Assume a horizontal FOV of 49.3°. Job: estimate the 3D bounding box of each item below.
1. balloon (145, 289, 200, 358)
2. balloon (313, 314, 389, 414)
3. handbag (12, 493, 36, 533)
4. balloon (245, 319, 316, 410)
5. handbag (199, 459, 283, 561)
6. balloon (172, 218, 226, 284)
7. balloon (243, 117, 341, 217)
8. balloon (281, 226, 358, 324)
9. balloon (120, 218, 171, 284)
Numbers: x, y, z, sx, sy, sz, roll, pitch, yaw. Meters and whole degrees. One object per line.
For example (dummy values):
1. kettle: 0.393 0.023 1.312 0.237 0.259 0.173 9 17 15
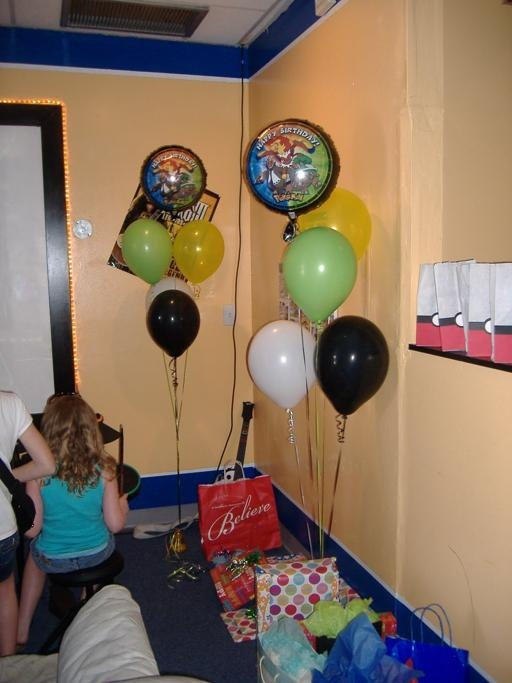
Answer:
1. balloon: -0.400 -0.108 2.882 0.242 0.370 0.271 3 2 4
2. balloon: 0.329 0.081 1.942 0.250 0.381 0.268 5 8 12
3. handbag: -0.817 0.618 1.970 0.045 0.151 0.098 -16 10 -28
4. balloon: 0.118 0.105 2.332 0.292 0.432 0.313 2 18 23
5. handbag: -0.070 0.949 3.071 0.444 0.499 0.179 -6 6 -22
6. balloon: -0.290 -0.479 3.211 0.293 0.438 0.320 2 -8 -2
7. balloon: 0.117 -0.613 1.968 0.337 0.313 0.128 2 7 33
8. balloon: 0.186 -0.259 1.988 0.264 0.384 0.275 -8 20 -34
9. balloon: -0.572 -0.487 3.061 0.274 0.412 0.299 -6 8 -8
